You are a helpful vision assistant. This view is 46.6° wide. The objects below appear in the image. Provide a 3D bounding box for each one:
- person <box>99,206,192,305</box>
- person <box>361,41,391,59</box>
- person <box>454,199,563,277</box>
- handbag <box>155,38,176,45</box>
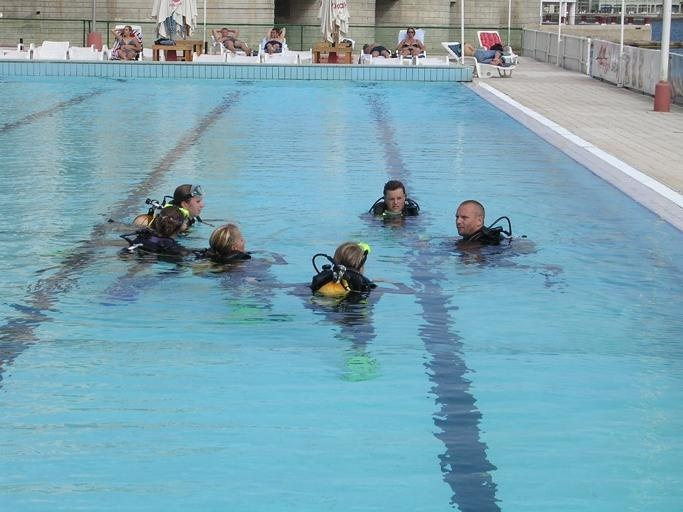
[{"bbox_3d":[-1.745,-0.072,7.378,0.731,0.699,0.927,-2,9,-8],"label":"person"},{"bbox_3d":[1.228,-6.598,25.654,0.764,0.333,1.466,2,13,-5],"label":"person"},{"bbox_3d":[1.667,-0.217,8.014,0.991,0.670,0.987,0,9,2],"label":"person"},{"bbox_3d":[-5.131,-6.225,23.196,0.594,0.105,0.416,0,5,-2],"label":"handbag"}]
